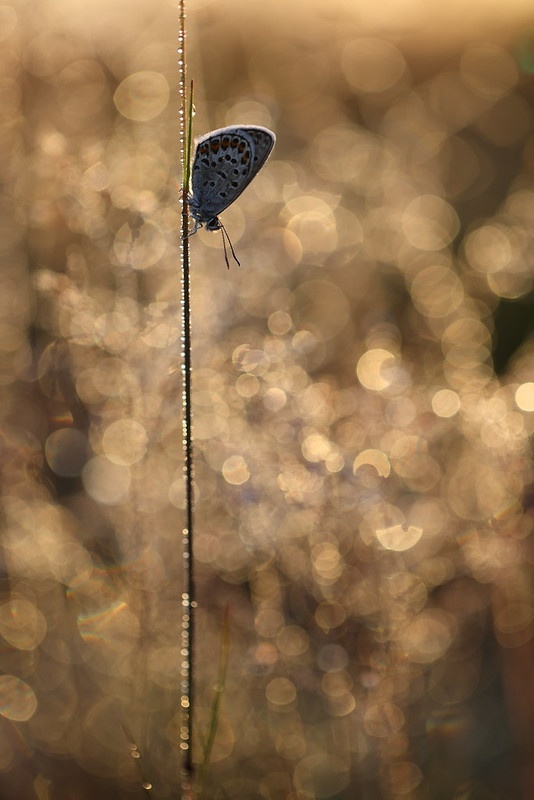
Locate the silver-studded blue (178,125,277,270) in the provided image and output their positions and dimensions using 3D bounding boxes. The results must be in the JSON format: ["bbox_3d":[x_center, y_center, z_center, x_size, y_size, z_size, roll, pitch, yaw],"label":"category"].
[{"bbox_3d":[-0.039,-0.219,0.871,0.077,0.099,0.065,6,7,38],"label":"silver-studded blue"}]
